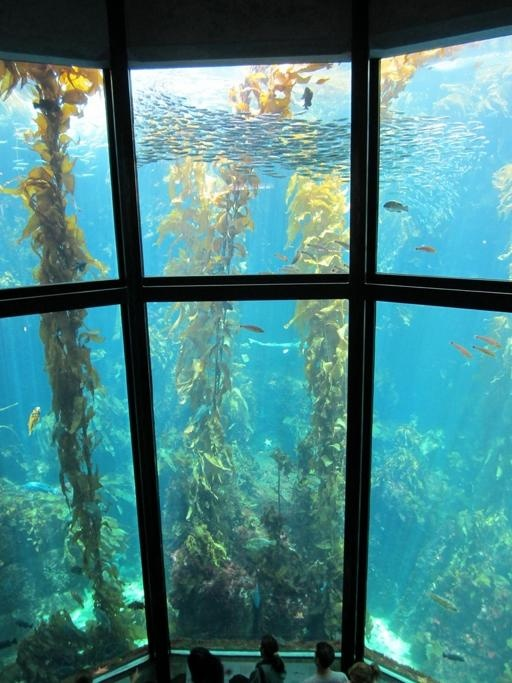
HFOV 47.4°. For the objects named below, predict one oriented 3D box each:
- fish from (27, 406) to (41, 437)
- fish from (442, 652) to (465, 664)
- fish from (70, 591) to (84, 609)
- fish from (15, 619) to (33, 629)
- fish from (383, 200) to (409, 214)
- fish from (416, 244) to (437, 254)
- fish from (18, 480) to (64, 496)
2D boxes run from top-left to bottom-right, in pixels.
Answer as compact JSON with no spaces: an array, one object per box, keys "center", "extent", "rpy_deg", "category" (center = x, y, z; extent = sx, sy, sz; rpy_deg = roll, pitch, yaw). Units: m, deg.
[{"center":[-1.272,0.456,3.358],"extent":[0.041,0.166,0.063],"rpy_deg":[2,-4,4],"category":"fish"},{"center":[1.193,1.924,3.569],"extent":[0.150,0.044,0.057],"rpy_deg":[-4,9,29],"category":"fish"},{"center":[-1.103,1.589,3.616],"extent":[0.040,0.132,0.047],"rpy_deg":[-29,20,-26],"category":"fish"},{"center":[-1.356,1.644,3.407],"extent":[0.015,0.088,0.039],"rpy_deg":[-21,38,27],"category":"fish"},{"center":[0.790,-0.765,3.346],"extent":[0.147,0.096,0.051],"rpy_deg":[14,28,24],"category":"fish"},{"center":[0.939,-0.516,3.278],"extent":[0.102,0.041,0.019],"rpy_deg":[3,10,23],"category":"fish"},{"center":[-1.264,0.850,3.404],"extent":[0.160,0.035,0.065],"rpy_deg":[25,-18,-27],"category":"fish"}]
